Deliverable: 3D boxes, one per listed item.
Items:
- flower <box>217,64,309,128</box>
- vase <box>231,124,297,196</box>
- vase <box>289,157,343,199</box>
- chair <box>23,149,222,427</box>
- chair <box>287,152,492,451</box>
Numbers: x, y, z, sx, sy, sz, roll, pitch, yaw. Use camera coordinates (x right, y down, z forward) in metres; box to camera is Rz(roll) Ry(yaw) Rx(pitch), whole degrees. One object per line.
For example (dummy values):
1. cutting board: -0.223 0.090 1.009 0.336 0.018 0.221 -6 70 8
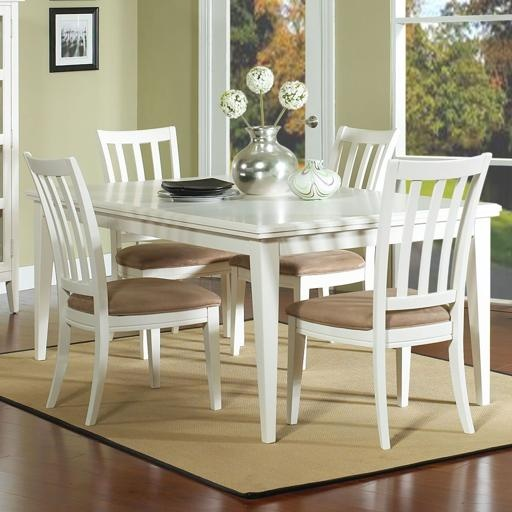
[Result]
1. flower: 0.024 -0.627 2.437 0.354 0.360 0.131 -3 10 6
2. vase: 0.036 -0.381 2.485 0.264 0.269 0.270 0 0 13
3. vase: 0.228 -0.283 2.236 0.155 0.142 0.161 -3 6 -28
4. chair: -0.490 0.101 2.176 0.597 0.929 0.505 -4 7 -43
5. chair: 0.442 0.124 1.926 0.465 0.868 0.503 -4 4 -33
